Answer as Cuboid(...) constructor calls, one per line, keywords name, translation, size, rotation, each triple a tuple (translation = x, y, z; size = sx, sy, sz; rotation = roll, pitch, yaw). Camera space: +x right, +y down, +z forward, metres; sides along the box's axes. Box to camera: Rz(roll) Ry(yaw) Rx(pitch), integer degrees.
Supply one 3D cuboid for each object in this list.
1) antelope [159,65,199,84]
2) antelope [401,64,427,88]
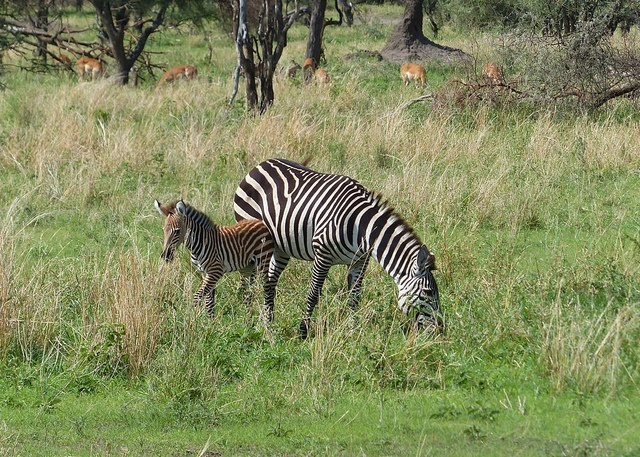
Cuboid(name="antelope", translation=(-3.429, -3.741, 21.765), size=(0.828, 0.433, 2.123), rotation=(0, 11, -9))
Cuboid(name="antelope", translation=(2.147, -3.461, 20.218), size=(0.487, 0.474, 1.277), rotation=(1, 11, -3))
